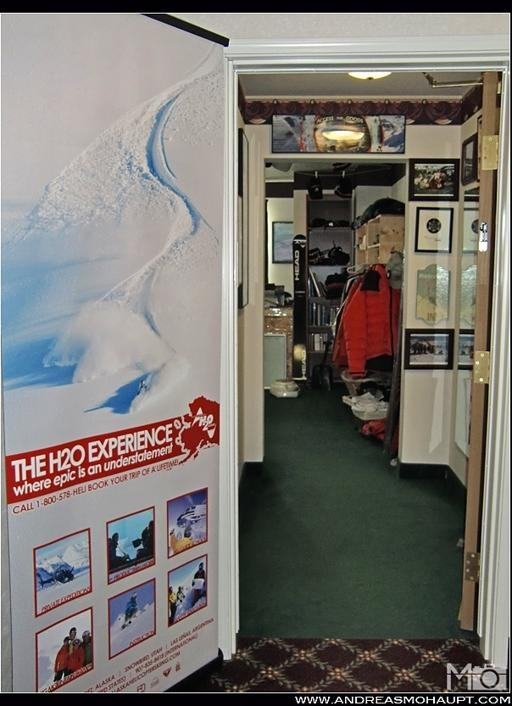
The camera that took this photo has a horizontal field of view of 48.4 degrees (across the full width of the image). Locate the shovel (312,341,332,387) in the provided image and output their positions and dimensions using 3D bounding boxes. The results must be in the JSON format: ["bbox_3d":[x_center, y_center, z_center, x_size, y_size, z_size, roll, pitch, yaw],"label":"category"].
[{"bbox_3d":[0.877,0.171,7.399,0.263,0.682,0.293,1,-11,18],"label":"shovel"}]

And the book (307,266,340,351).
[{"bbox_3d":[0.829,-0.502,7.256,0.647,0.916,0.305,2,2,0],"label":"book"}]

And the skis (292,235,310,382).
[{"bbox_3d":[0.560,-0.633,7.412,0.237,1.910,0.028,4,7,43],"label":"skis"}]

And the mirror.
[{"bbox_3d":[1.302,-0.181,3.580,0.104,1.635,0.481,3,8,18],"label":"mirror"}]

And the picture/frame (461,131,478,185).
[{"bbox_3d":[1.283,-1.171,3.461,0.083,0.287,0.506,3,8,18],"label":"picture/frame"}]
